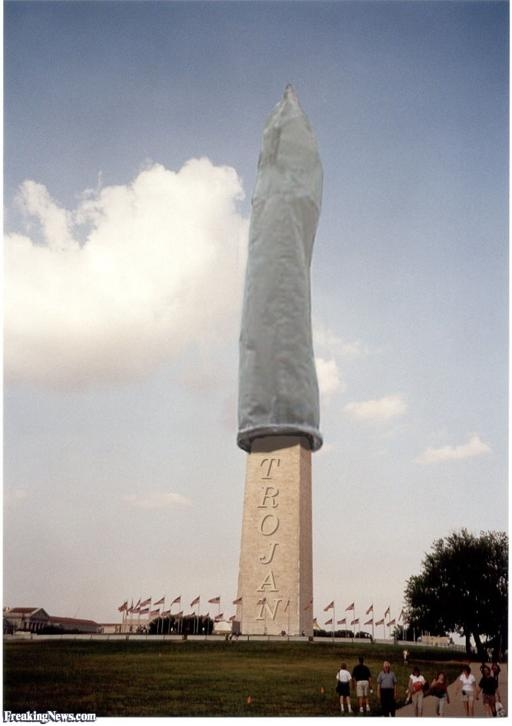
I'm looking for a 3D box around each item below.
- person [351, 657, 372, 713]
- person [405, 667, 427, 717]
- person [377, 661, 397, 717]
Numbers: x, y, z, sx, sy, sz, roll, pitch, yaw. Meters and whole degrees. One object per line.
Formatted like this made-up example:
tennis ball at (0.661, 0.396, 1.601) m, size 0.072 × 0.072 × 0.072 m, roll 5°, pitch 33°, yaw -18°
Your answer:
person at (2.399, 7.185, 19.117) m, size 0.367 × 1.196 × 0.360 m, roll -4°, pitch -3°, yaw 6°
person at (3.724, 7.530, 19.538) m, size 0.388 × 1.117 × 0.340 m, roll -2°, pitch 1°, yaw 32°
person at (2.868, 7.141, 18.721) m, size 0.334 × 1.207 × 1.233 m, roll 0°, pitch -14°, yaw 9°
